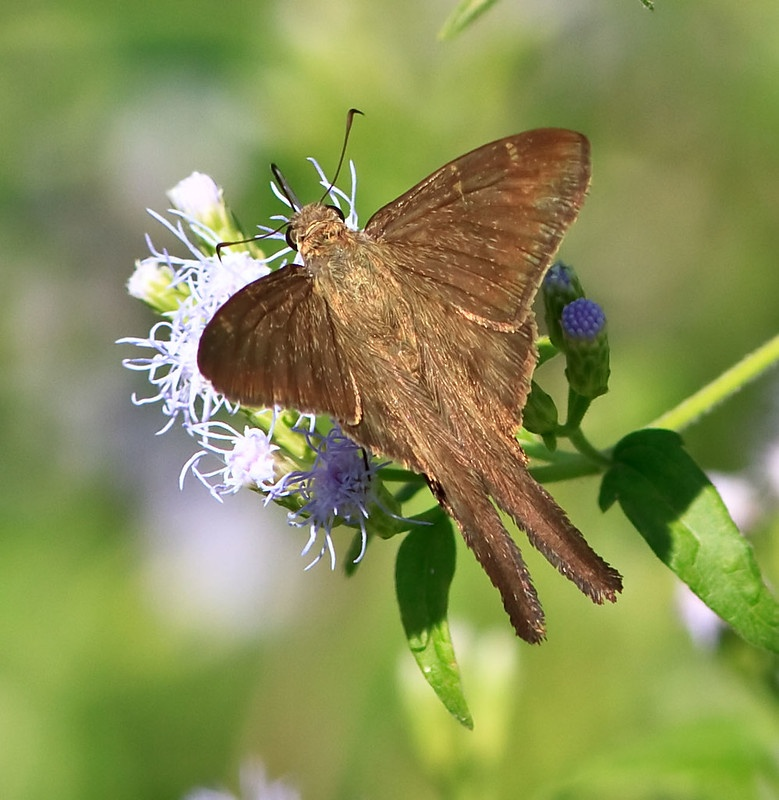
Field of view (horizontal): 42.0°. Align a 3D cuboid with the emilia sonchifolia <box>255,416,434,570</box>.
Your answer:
[{"bbox_3d":[-0.138,0.311,3.128,0.439,0.461,0.231,36,-10,4],"label":"emilia sonchifolia"}]
